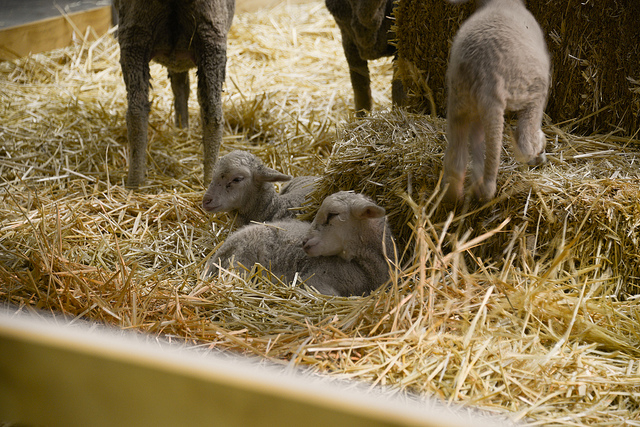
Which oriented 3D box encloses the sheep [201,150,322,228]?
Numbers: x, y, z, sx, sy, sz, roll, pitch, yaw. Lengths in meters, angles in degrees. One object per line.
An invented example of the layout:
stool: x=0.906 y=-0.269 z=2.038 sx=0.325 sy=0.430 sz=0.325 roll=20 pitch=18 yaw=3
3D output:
sheep: x=-0.431 y=-0.174 z=5.008 sx=0.662 sy=0.419 sz=0.467 roll=-25 pitch=3 yaw=-20

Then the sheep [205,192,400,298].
sheep: x=-0.055 y=0.206 z=4.636 sx=1.037 sy=0.589 sz=0.568 roll=-26 pitch=19 yaw=19

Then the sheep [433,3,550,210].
sheep: x=0.931 y=-0.493 z=4.092 sx=0.517 sy=1.143 sz=0.512 roll=7 pitch=29 yaw=13
